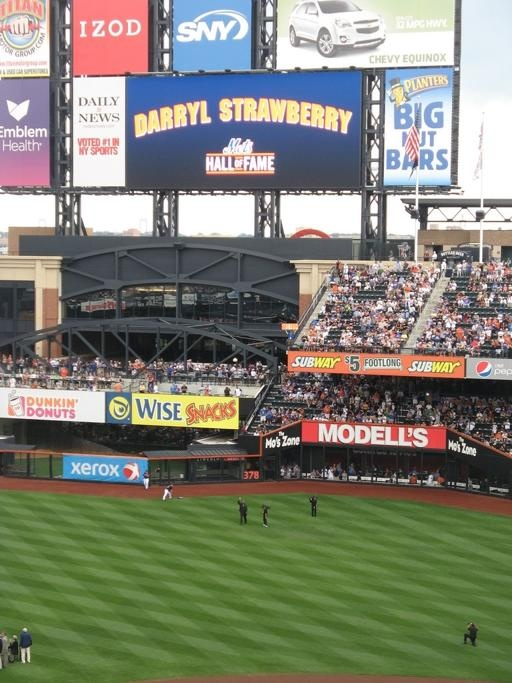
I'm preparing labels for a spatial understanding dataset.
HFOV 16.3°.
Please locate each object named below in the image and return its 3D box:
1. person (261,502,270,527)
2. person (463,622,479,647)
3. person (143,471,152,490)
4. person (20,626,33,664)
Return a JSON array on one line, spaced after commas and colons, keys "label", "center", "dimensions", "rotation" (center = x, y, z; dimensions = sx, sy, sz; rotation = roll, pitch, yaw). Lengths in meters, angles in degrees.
[{"label": "person", "center": [0.486, 7.394, 75.945], "dimensions": [0.507, 0.516, 1.178], "rotation": [-6, 32, 1]}, {"label": "person", "center": [7.769, 10.358, 63.532], "dimensions": [0.501, 0.857, 1.139], "rotation": [1, 3, 7]}, {"label": "person", "center": [-4.977, 6.349, 81.692], "dimensions": [0.254, 0.812, 0.444], "rotation": [0, 3, -12]}, {"label": "person", "center": [-8.032, 10.500, 62.067], "dimensions": [0.418, 1.123, 1.117], "rotation": [0, 3, -7]}]
